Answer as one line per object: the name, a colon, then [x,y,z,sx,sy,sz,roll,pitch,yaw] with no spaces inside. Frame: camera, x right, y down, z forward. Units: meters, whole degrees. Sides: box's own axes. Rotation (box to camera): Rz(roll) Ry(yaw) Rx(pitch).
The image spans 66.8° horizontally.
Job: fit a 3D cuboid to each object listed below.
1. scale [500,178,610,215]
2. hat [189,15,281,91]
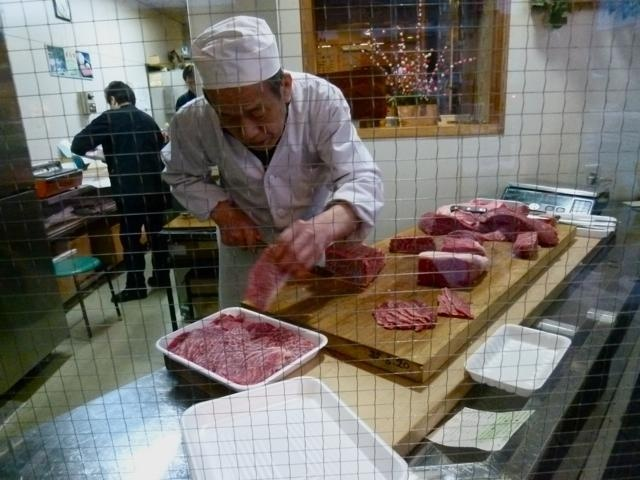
scale: [0.423,-0.076,0.914,0.195,0.083,0.095,-3,19,0]
hat: [-0.142,-0.347,0.845,0.127,0.061,0.092,-22,42,-34]
